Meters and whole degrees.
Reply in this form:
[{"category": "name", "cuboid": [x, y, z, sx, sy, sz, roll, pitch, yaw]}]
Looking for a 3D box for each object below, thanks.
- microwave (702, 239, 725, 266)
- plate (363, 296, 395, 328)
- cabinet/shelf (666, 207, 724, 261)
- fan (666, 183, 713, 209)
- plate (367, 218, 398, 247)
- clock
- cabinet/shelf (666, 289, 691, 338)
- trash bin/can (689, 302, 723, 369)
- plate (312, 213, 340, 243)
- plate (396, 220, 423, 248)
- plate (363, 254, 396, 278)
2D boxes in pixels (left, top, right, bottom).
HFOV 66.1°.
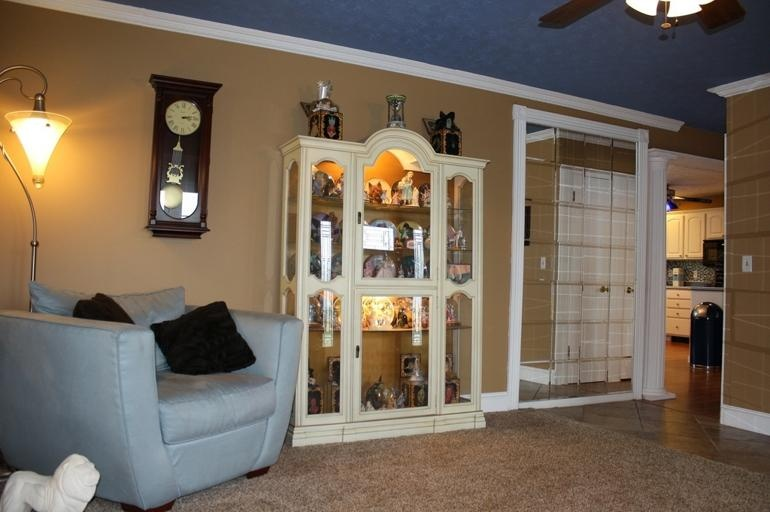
[{"category": "microwave", "cuboid": [5.863, -0.061, 10.562, 0.143, 0.516, 0.445, 0, 6, -16]}, {"category": "plate", "cuboid": [-0.069, 0.470, 5.083, 0.257, 0.249, 0.089, 2, -4, -28]}, {"category": "cabinet/shelf", "cuboid": [5.658, -0.407, 10.715, 0.363, 0.852, 0.922, 4, -6, -25]}, {"category": "fan", "cuboid": [5.203, -1.033, 10.079, 0.421, 0.425, 0.389, -17, 3, 15]}, {"category": "plate", "cuboid": [-0.011, -0.184, 5.150, 0.240, 0.234, 0.062, -7, -1, -26]}, {"category": "clock", "cuboid": [-1.641, -0.823, 4.848, 0.533, 1.220, 0.129, 0, 6, -18]}, {"category": "cabinet/shelf", "cuboid": [5.301, 1.035, 10.620, 0.244, 0.938, 0.563, -1, 7, -28]}, {"category": "trash bin/can", "cuboid": [4.605, 1.129, 8.475, 0.419, 0.852, 0.541, 5, 7, 29]}, {"category": "plate", "cuboid": [-0.490, -0.245, 4.942, 0.257, 0.237, 0.081, 1, 6, -12]}, {"category": "plate", "cuboid": [0.203, -0.189, 5.219, 0.213, 0.233, 0.053, -5, 6, -18]}, {"category": "plate", "cuboid": [-0.048, 0.094, 5.095, 0.208, 0.213, 0.076, -1, -1, -20]}]
